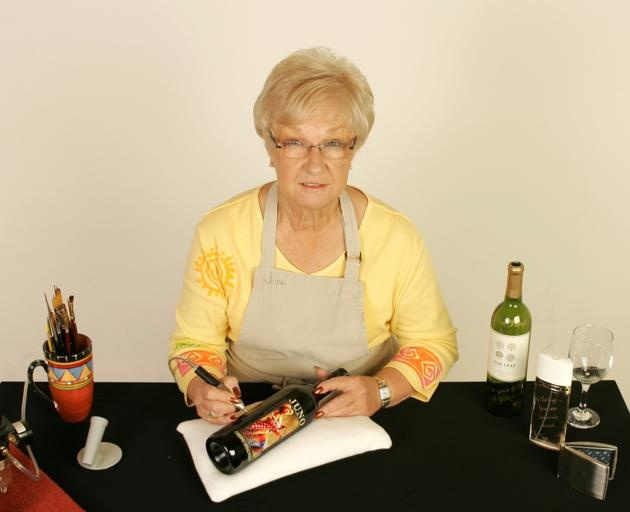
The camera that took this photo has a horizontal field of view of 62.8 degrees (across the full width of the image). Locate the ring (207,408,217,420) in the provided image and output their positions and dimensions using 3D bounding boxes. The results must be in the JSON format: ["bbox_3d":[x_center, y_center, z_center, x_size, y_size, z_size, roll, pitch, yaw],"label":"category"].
[{"bbox_3d":[-0.254,0.391,1.274,0.022,0.026,0.009,-4,-9,9],"label":"ring"}]

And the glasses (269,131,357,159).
[{"bbox_3d":[-0.010,-0.308,1.438,0.233,0.064,0.063,2,7,-4],"label":"glasses"}]
